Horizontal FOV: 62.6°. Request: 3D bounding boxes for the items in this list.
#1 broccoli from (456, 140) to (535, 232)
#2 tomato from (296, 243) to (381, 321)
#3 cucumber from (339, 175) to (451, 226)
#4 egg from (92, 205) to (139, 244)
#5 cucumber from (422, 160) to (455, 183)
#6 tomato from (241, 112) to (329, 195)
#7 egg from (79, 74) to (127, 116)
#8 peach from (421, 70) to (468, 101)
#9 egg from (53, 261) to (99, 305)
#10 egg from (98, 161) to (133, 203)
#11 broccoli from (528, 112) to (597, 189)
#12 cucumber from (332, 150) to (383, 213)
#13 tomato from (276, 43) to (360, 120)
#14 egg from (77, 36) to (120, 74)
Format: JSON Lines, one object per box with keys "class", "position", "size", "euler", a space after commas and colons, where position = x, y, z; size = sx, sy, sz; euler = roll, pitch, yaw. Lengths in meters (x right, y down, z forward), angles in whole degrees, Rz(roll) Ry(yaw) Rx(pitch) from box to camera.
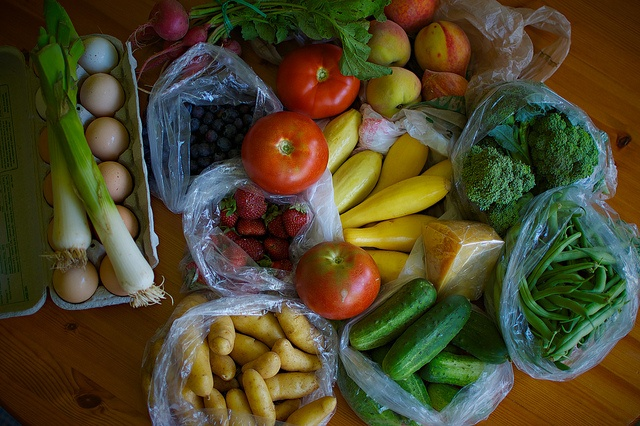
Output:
{"class": "broccoli", "position": [0.506, -0.083, 1.534], "size": [0.180, 0.234, 0.181], "euler": [1, 33, 9]}
{"class": "tomato", "position": [0.043, 0.192, 1.473], "size": [0.234, 0.185, 0.142], "euler": [24, 37, 7]}
{"class": "cucumber", "position": [0.225, -0.025, 1.581], "size": [0.352, 0.120, 0.126], "euler": [-20, 65, -11]}
{"class": "egg", "position": [-0.575, 0.042, 1.500], "size": [0.094, 0.130, 0.103], "euler": [-5, -4, 1]}
{"class": "cucumber", "position": [0.349, -0.127, 1.560], "size": [0.090, 0.050, 0.031], "euler": [-26, -15, -1]}
{"class": "tomato", "position": [-0.099, -0.158, 1.539], "size": [0.210, 0.232, 0.173], "euler": [0, 0, 0]}
{"class": "egg", "position": [-0.618, -0.339, 1.520], "size": [0.101, 0.128, 0.103], "euler": [-26, 10, -22]}
{"class": "peach", "position": [0.375, -0.371, 1.571], "size": [0.108, 0.076, 0.081], "euler": [5, 8, 42]}
{"class": "egg", "position": [-0.680, 0.193, 1.452], "size": [0.098, 0.120, 0.067], "euler": [-3, 1, -9]}
{"class": "egg", "position": [-0.571, -0.078, 1.504], "size": [0.092, 0.127, 0.100], "euler": [-2, -9, -8]}
{"class": "broccoli", "position": [0.661, -0.174, 1.448], "size": [0.160, 0.215, 0.162], "euler": [14, 33, 18]}
{"class": "cucumber", "position": [0.108, -0.102, 1.615], "size": [0.091, 0.230, 0.080], "euler": [28, -5, 14]}
{"class": "tomato", "position": [-0.008, -0.394, 1.581], "size": [0.245, 0.187, 0.129], "euler": [13, 37, -9]}
{"class": "egg", "position": [-0.627, -0.435, 1.530], "size": [0.092, 0.124, 0.098], "euler": [-5, -17, 30]}
